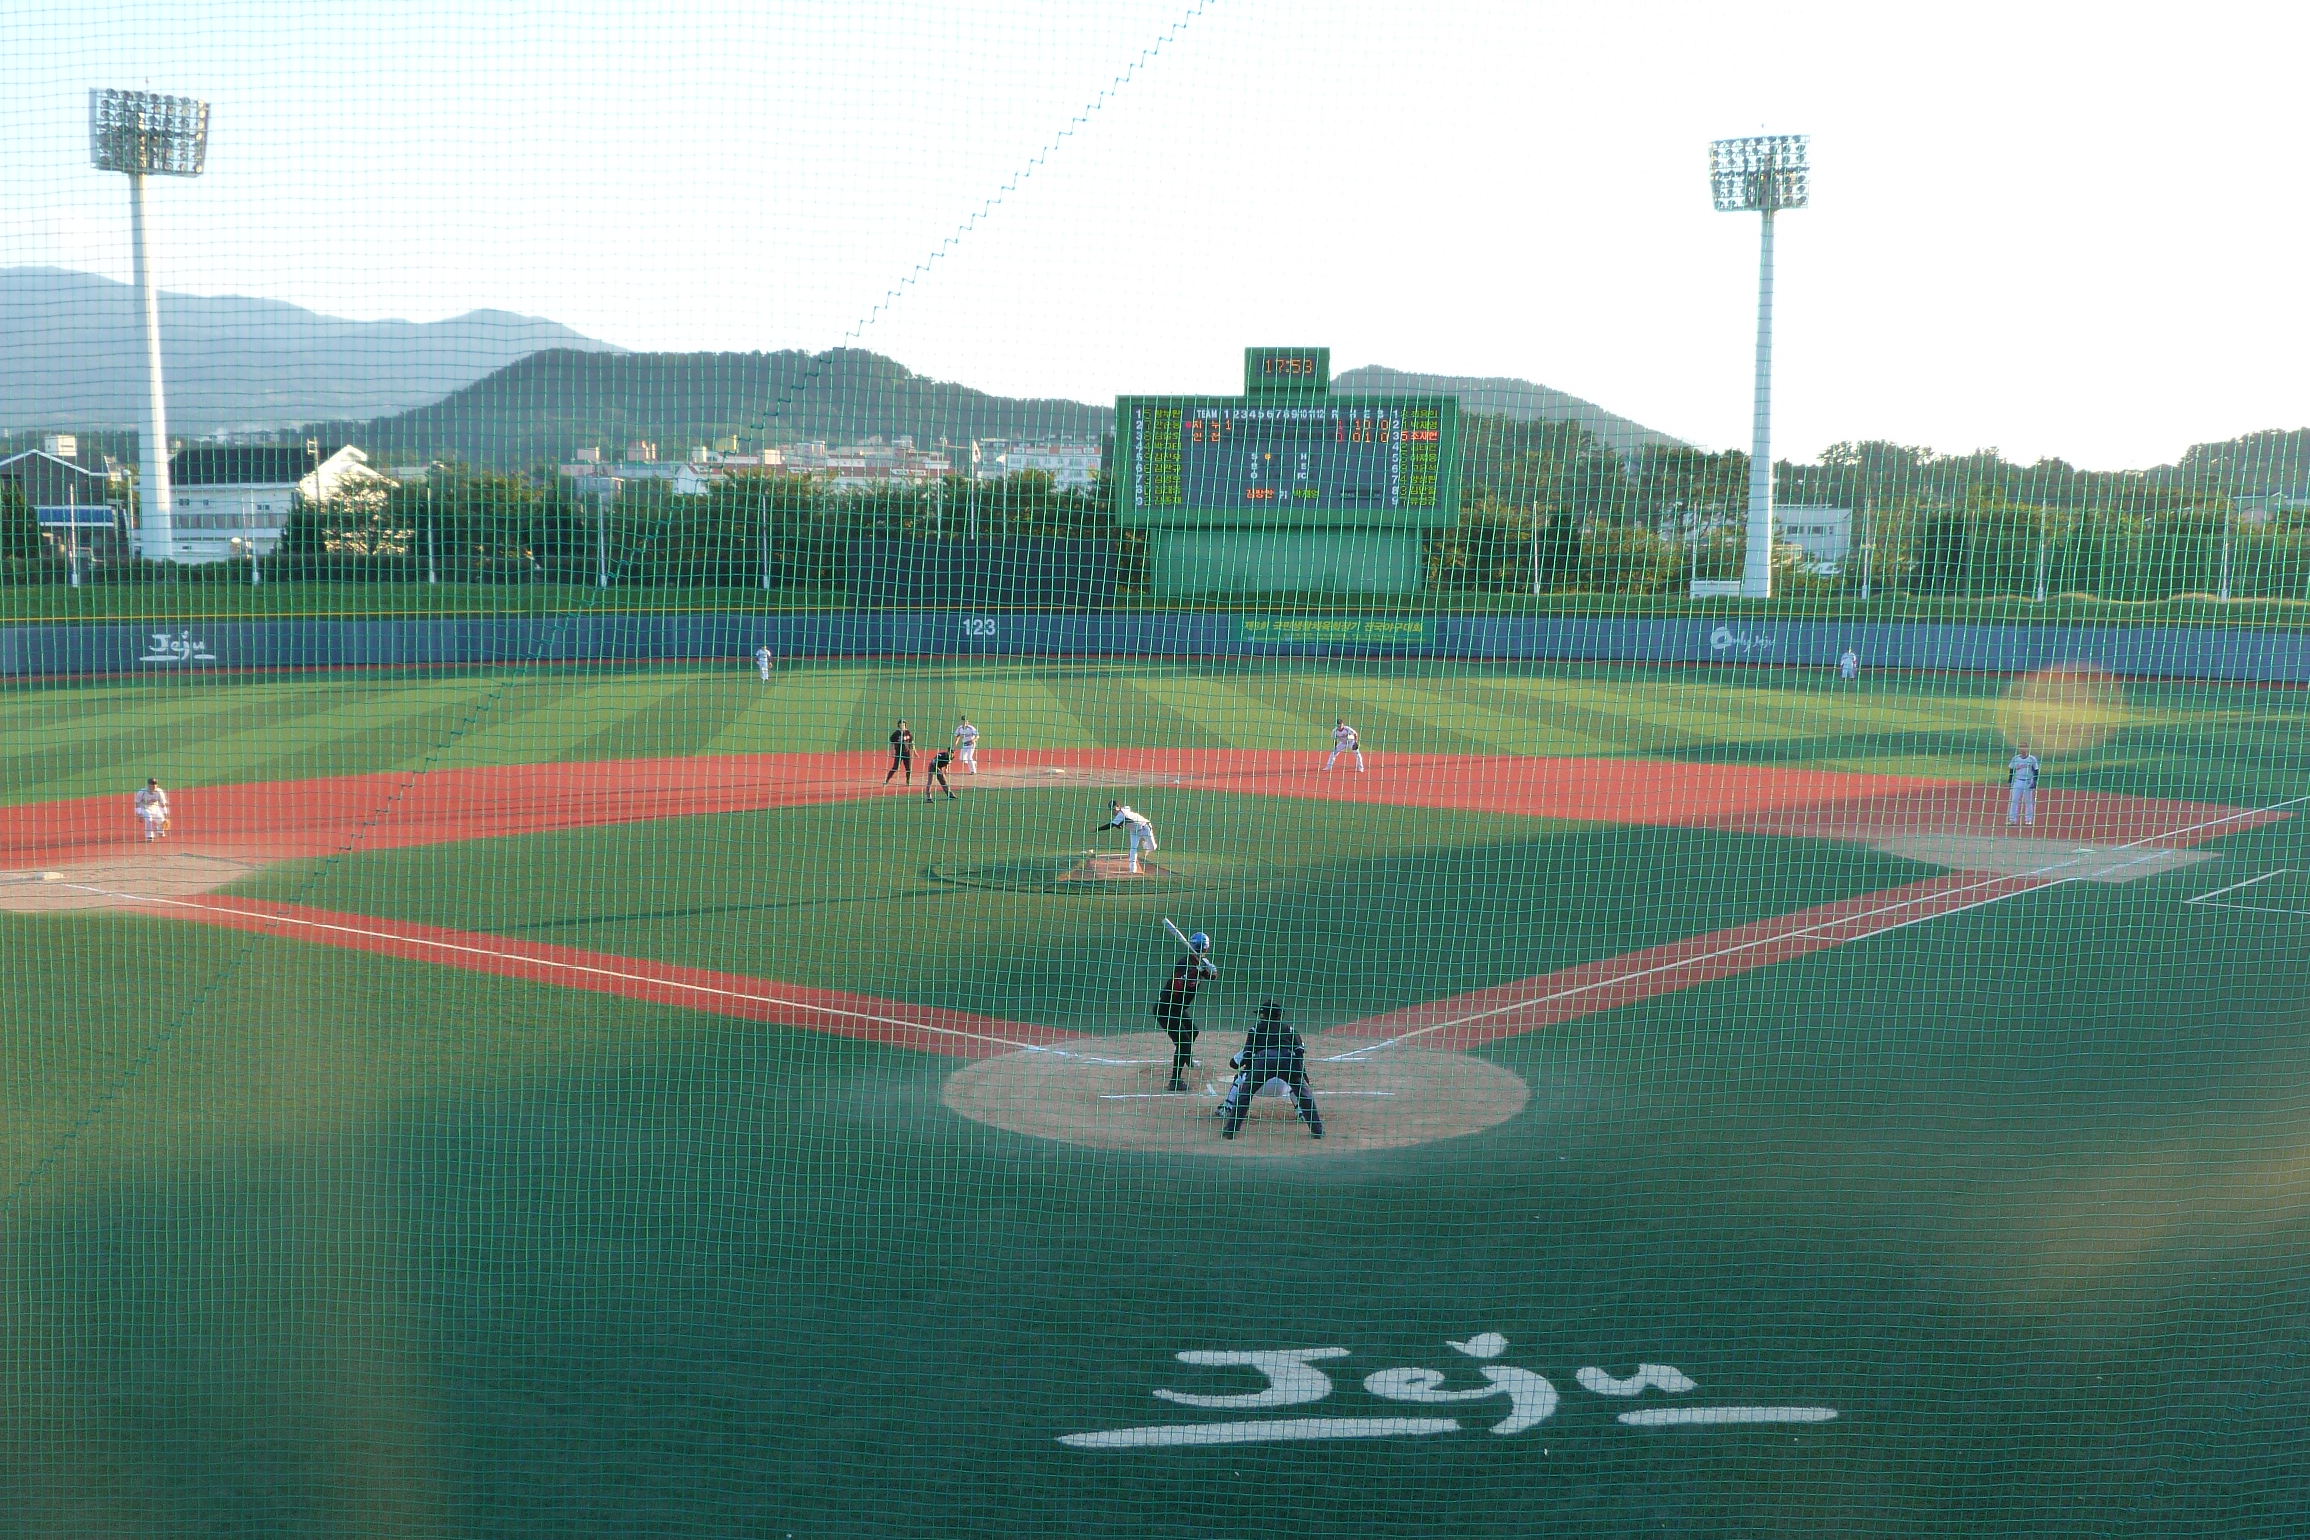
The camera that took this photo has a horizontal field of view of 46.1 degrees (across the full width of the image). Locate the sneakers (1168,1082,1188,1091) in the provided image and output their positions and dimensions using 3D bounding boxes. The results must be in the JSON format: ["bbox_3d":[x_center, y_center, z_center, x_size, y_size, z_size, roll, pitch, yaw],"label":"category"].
[{"bbox_3d":[0.205,3.158,27.115,0.209,0.053,0.149,0,10,-3],"label":"sneakers"}]

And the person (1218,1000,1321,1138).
[{"bbox_3d":[1.122,2.826,26.434,0.966,1.315,1.021,0,11,2],"label":"person"}]

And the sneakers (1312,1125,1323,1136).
[{"bbox_3d":[1.532,3.478,26.172,0.065,0.061,0.115,-31,-13,18],"label":"sneakers"}]
